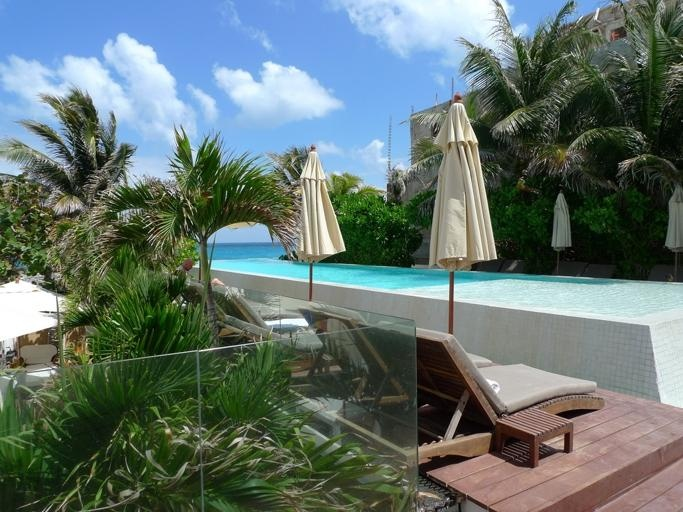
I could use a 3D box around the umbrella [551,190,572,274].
[{"bbox_3d":[6.245,-0.669,13.177,0.466,2.358,1.339,-1,4,26],"label":"umbrella"}]
